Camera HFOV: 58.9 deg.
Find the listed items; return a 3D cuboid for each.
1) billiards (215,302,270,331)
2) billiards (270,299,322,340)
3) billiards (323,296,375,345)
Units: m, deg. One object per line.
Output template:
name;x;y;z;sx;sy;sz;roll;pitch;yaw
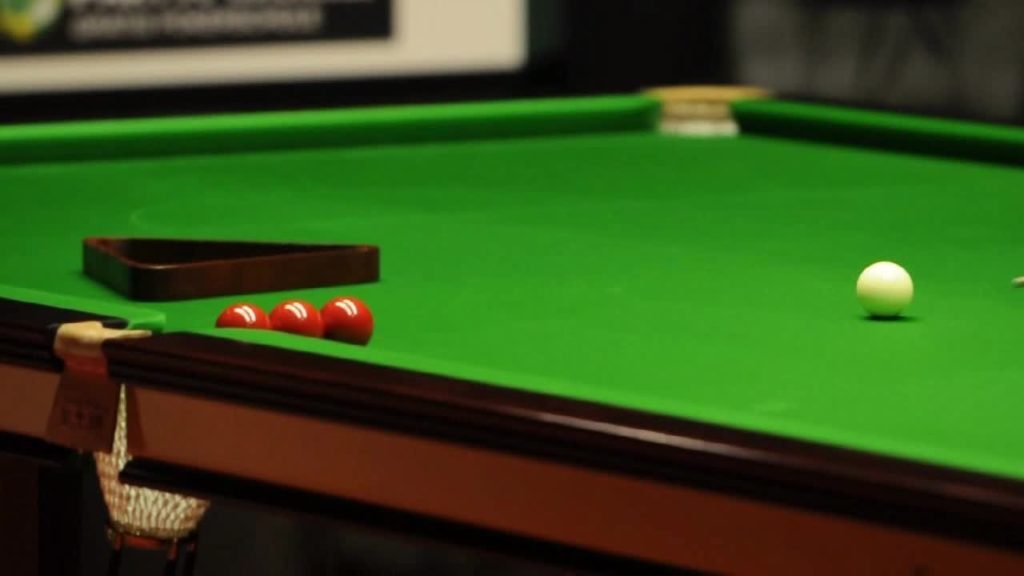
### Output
billiards;-0.666;0.069;2.250;0.086;0.043;0.087;0;1;2
billiards;-0.538;0.080;2.285;0.131;0.076;0.105;9;18;34
billiards;-0.410;0.090;2.347;0.131;0.128;0.121;-14;-6;9
